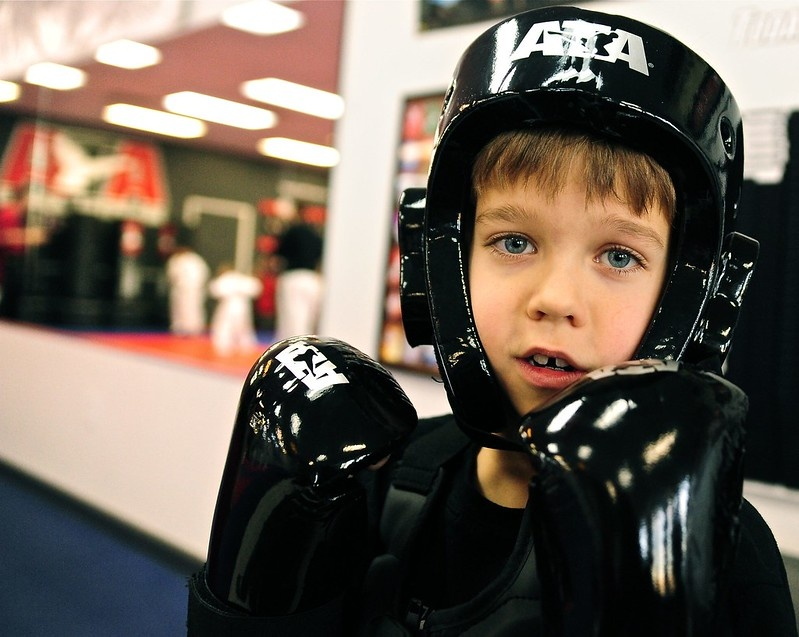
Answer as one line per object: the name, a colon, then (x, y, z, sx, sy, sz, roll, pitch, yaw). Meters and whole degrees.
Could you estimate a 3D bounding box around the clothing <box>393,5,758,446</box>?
clothing: (0.279, -0.113, 1.412, 0.497, 0.613, 0.608, 10, -7, 11)

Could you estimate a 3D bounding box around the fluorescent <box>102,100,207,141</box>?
fluorescent: (-1.117, -0.906, 3.891, 0.317, 0.034, 0.153, 8, -8, -40)

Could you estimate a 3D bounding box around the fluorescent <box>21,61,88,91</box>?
fluorescent: (-1.573, -1.097, 3.814, 0.413, 0.113, 0.152, 7, 1, 43)

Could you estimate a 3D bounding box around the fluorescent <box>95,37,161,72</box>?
fluorescent: (-1.124, -1.097, 3.477, 0.302, 0.110, 0.028, 9, 22, 7)
